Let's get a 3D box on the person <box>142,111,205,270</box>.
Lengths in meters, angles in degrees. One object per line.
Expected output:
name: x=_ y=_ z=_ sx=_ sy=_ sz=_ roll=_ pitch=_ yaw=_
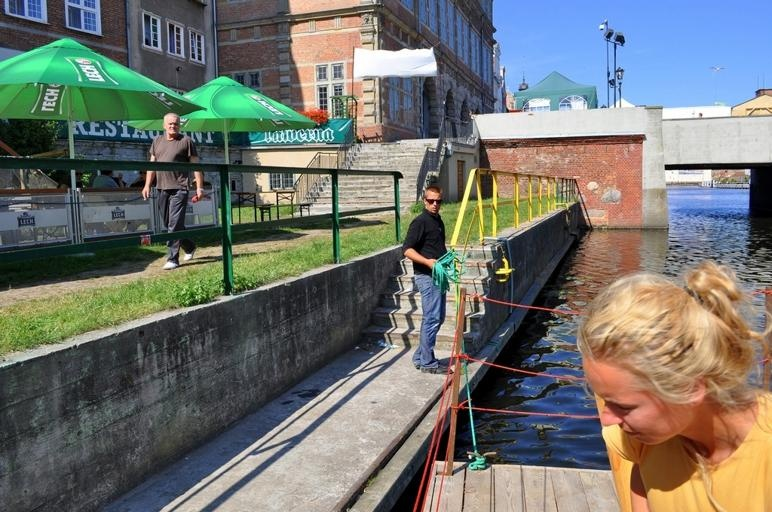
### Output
person: x=-3.282 y=-1.055 z=9.833 sx=0.716 sy=2.277 sz=0.926 roll=2 pitch=6 yaw=33

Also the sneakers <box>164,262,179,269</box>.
sneakers: x=-3.182 y=0.137 z=9.419 sx=0.208 sy=0.121 sz=0.196 roll=-5 pitch=8 yaw=-20

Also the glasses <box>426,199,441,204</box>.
glasses: x=0.676 y=-0.756 z=8.699 sx=0.215 sy=0.067 sz=0.184 roll=-3 pitch=8 yaw=-12

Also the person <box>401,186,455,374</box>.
person: x=0.554 y=0.330 z=8.635 sx=0.569 sy=2.527 sz=0.783 roll=-1 pitch=8 yaw=4
